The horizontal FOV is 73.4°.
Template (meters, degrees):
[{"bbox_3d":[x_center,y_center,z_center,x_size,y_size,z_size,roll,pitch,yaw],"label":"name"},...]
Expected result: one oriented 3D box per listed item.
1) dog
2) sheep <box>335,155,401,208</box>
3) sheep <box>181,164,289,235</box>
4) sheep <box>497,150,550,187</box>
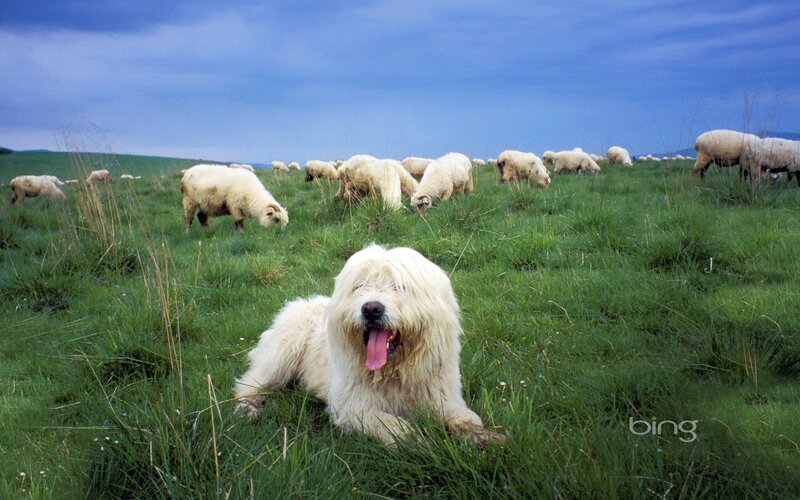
[{"bbox_3d":[-0.321,0.888,5.306,2.481,1.740,0.986,-2,14,24],"label":"dog"},{"bbox_3d":[-0.812,-1.953,14.339,1.027,1.155,2.759,-16,15,-32],"label":"sheep"},{"bbox_3d":[-3.989,-1.104,12.929,2.988,1.617,0.969,10,10,22],"label":"sheep"},{"bbox_3d":[5.090,-3.440,22.254,1.797,1.324,3.221,-6,13,5],"label":"sheep"}]
